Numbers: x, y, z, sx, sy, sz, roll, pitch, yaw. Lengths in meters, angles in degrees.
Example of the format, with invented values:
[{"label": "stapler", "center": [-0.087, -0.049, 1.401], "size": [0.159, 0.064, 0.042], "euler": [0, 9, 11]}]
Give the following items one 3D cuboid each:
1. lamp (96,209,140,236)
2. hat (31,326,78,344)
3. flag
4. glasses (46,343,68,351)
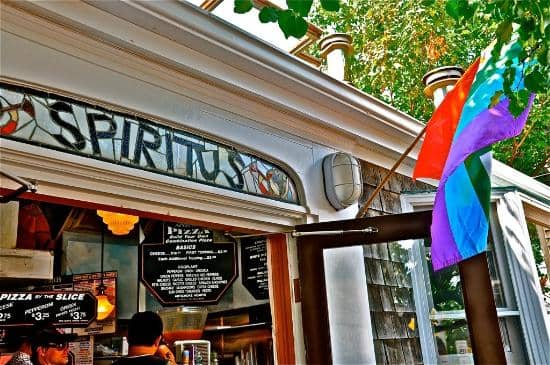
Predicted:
[{"label": "lamp", "center": [-1.773, 0.423, 5.159], "size": [0.394, 0.205, 0.452], "euler": [14, -29, -33]}, {"label": "hat", "center": [-2.108, 1.463, 4.368], "size": [0.333, 0.114, 0.211], "euler": [1, -10, -11]}, {"label": "flag", "center": [1.611, -0.292, 3.897], "size": [0.707, 1.770, 1.240], "euler": [9, -27, -25]}, {"label": "glasses", "center": [-2.102, 1.560, 4.392], "size": [0.123, 0.035, 0.098], "euler": [-3, -13, 14]}]
